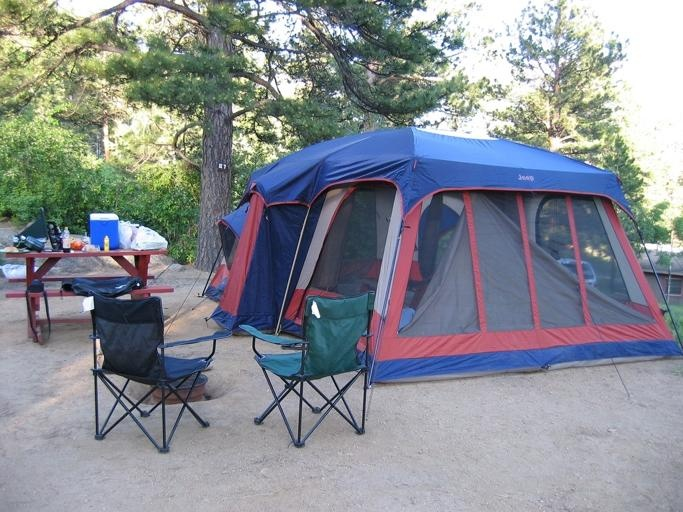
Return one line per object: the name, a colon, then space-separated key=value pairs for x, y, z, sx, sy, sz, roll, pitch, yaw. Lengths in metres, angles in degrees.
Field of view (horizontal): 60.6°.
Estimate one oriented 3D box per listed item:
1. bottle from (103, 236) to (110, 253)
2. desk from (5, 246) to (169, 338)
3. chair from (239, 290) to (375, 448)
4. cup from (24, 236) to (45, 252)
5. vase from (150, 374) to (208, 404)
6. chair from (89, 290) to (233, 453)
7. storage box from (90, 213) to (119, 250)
bottle: x=-3.298 y=-0.174 z=8.153 sx=0.080 sy=0.219 sz=0.075 roll=1 pitch=-1 yaw=0
desk: x=-3.842 y=0.257 z=8.532 sx=2.068 sy=1.166 sz=1.388 roll=0 pitch=6 yaw=-19
chair: x=-0.362 y=1.089 z=6.202 sx=1.344 sy=1.511 sz=1.449 roll=5 pitch=5 yaw=16
cup: x=-4.253 y=-0.163 z=8.036 sx=0.248 sy=0.232 sz=0.315 roll=2 pitch=-2 yaw=-29
vase: x=-1.690 y=1.437 z=6.193 sx=0.436 sy=0.158 sz=0.443 roll=-4 pitch=-7 yaw=44
chair: x=-1.911 y=1.106 z=5.790 sx=1.095 sy=1.519 sz=1.235 roll=2 pitch=-1 yaw=-33
storage box: x=-3.357 y=-0.304 z=8.308 sx=0.426 sy=0.572 sz=0.323 roll=-3 pitch=-16 yaw=-12
